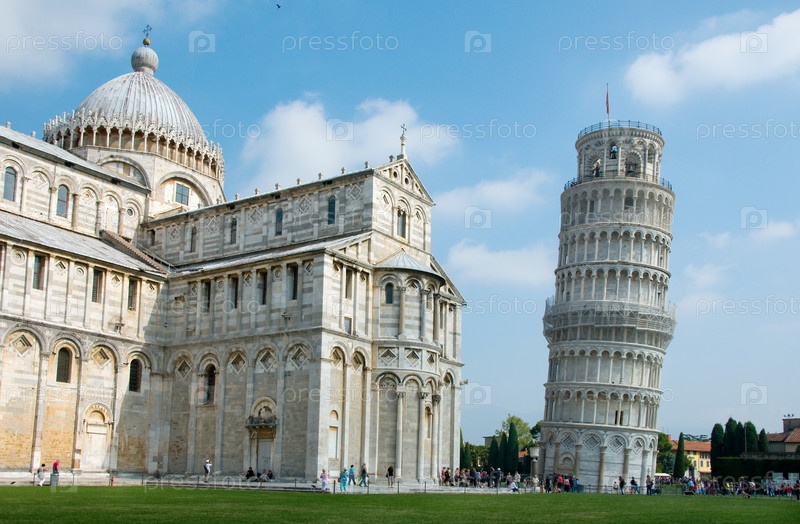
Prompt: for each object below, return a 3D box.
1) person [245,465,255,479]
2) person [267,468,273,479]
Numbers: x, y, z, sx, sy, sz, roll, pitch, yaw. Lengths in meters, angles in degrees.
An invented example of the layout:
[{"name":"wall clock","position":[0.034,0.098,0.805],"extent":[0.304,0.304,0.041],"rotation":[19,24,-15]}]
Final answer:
[{"name":"person","position":[-13.496,19.331,129.514],"extent":[0.848,0.993,1.032],"rotation":[7,-7,-5]},{"name":"person","position":[-11.669,19.248,128.821],"extent":[0.600,0.892,1.057],"rotation":[7,-7,-5]}]
